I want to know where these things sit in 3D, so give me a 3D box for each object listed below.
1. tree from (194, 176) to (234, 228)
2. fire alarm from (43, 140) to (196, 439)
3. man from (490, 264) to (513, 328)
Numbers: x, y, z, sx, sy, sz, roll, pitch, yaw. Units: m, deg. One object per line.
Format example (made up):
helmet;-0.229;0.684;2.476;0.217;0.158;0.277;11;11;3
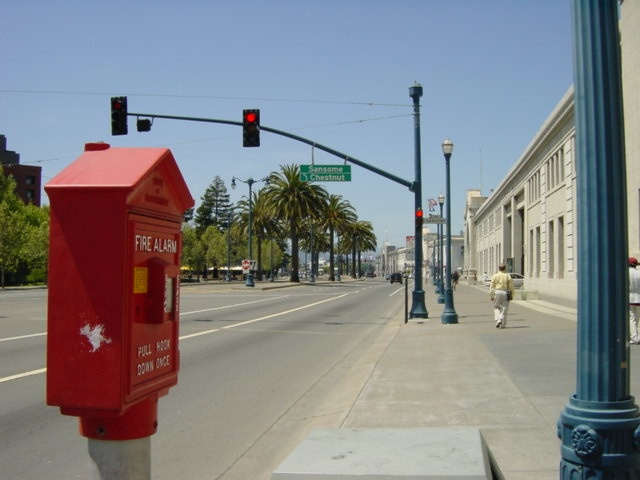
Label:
tree;-20.392;-7.440;132.996;5.374;10.894;9.428;-1;-2;-16
fire alarm;-1.118;0.269;3.883;0.817;1.718;0.511;-1;-1;-27
man;4.762;1.432;17.941;0.555;1.183;2.003;-2;-2;15
